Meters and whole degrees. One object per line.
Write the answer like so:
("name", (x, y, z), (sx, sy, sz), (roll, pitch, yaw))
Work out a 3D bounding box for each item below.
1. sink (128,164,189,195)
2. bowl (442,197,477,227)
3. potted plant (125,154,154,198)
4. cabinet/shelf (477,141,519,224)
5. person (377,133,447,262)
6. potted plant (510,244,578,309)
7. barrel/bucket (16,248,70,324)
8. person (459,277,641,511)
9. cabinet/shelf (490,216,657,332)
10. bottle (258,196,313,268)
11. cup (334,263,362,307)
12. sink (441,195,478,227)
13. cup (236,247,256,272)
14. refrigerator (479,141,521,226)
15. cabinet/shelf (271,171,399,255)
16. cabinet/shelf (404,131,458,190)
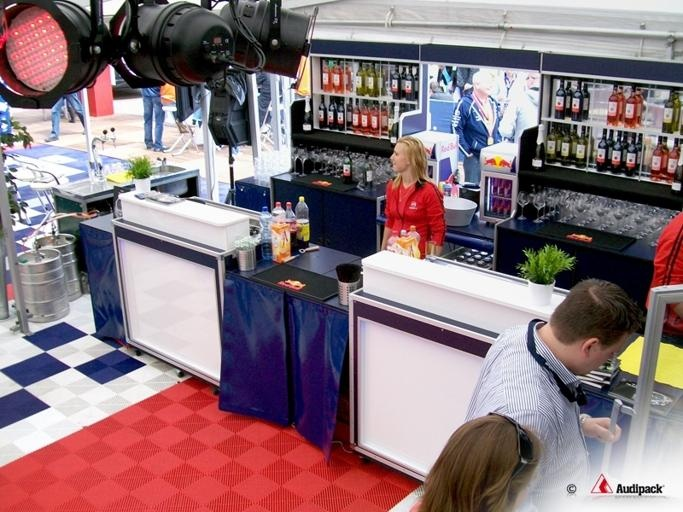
("sink", (-2.158, -0.872, 6.053), (0.407, 0.201, 0.538), (20, 27, 32))
("bowl", (1.300, -0.468, 5.489), (0.372, 0.235, 0.409), (5, 20, 10))
("potted plant", (-2.035, -0.791, 5.066), (0.184, 0.268, 0.189), (15, 12, 38))
("cabinet/shelf", (1.622, -0.630, 5.567), (0.414, 0.808, 0.572), (8, -14, -5))
("person", (0.658, -0.498, 4.406), (0.607, 1.020, 0.208), (17, 25, 38))
("potted plant", (1.283, 0.131, 3.127), (0.361, 0.355, 0.315), (-1, 15, -1))
("barrel/bucket", (-3.207, 0.331, 5.408), (0.463, 0.644, 0.452), (3, 20, -1))
("person", (0.822, 0.524, 1.897), (0.456, 0.984, 0.421), (-4, 54, 8))
("cabinet/shelf", (1.626, 0.090, 3.397), (0.943, 0.587, 0.304), (18, 33, 30))
("bottle", (-0.435, -0.209, 4.149), (0.232, 0.433, 0.482), (15, 24, 34))
("cup", (0.062, 0.226, 3.462), (0.162, 0.207, 0.150), (6, -2, 0))
("sink", (1.248, -0.478, 5.433), (0.390, 0.141, 0.315), (12, 23, 34))
("cup", (-0.736, 0.035, 3.893), (0.138, 0.164, 0.176), (-3, 15, -8))
("refrigerator", (1.854, -0.813, 5.506), (0.413, 0.815, 0.590), (20, 40, 40))
("cabinet/shelf", (-0.012, -0.449, 5.530), (0.874, 0.756, 0.310), (17, 31, 29))
("cabinet/shelf", (1.111, -1.076, 6.090), (0.637, 0.655, 0.641), (1, 24, 9))
